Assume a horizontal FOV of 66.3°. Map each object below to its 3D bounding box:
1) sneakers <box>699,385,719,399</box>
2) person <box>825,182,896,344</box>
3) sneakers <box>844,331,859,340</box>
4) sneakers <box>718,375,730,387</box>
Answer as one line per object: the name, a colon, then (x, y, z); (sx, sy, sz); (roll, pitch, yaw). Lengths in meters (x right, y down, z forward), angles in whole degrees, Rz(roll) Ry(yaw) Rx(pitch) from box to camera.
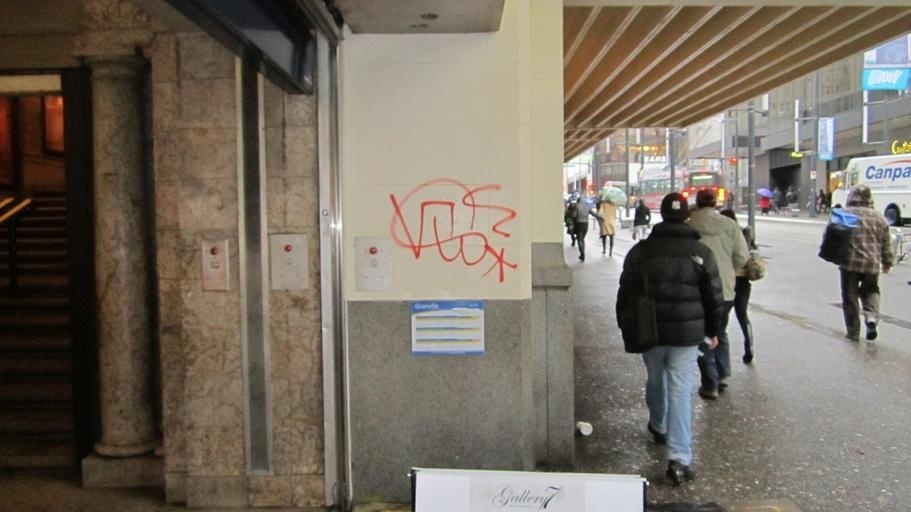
sneakers: (3.874, 2.095, 10.684); (0.146, 0.248, 0.272); (-1, -5, -41)
person: (7.279, 0.128, 12.576); (1.038, 3.013, 0.845); (-2, -1, -21)
sneakers: (7.244, 1.433, 12.787); (0.130, 0.205, 0.226); (-2, 15, 1)
sneakers: (4.134, 1.935, 10.778); (0.161, 0.200, 0.202); (6, -20, -8)
